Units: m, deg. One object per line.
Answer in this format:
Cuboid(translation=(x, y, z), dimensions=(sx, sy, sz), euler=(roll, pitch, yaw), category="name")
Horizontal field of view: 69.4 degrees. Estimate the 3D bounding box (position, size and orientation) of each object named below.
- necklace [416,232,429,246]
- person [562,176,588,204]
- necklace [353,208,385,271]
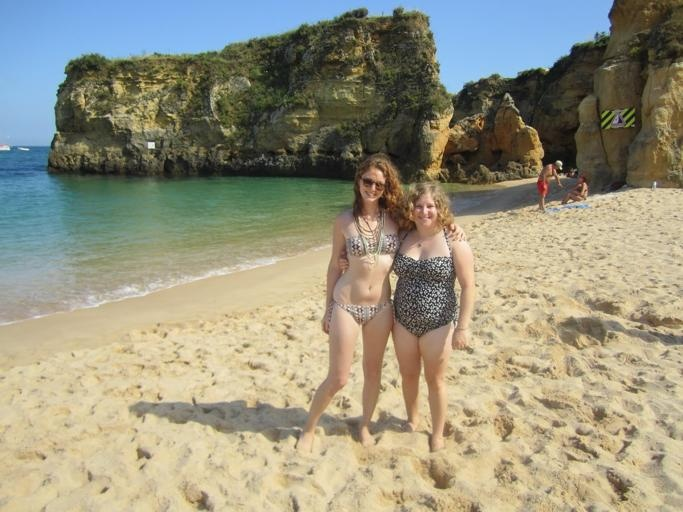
Cuboid(translation=(0.767, -0.164, 4.662), dimensions=(0.127, 0.139, 0.135), euler=(-10, 16, -37), category="necklace")
Cuboid(translation=(7.155, -2.018, 15.016), dimensions=(0.708, 0.748, 2.037), euler=(5, 13, 26), category="person")
Cuboid(translation=(0.275, -0.170, 4.679), dimensions=(0.287, 0.454, 0.199), euler=(-3, 12, -9), category="necklace")
